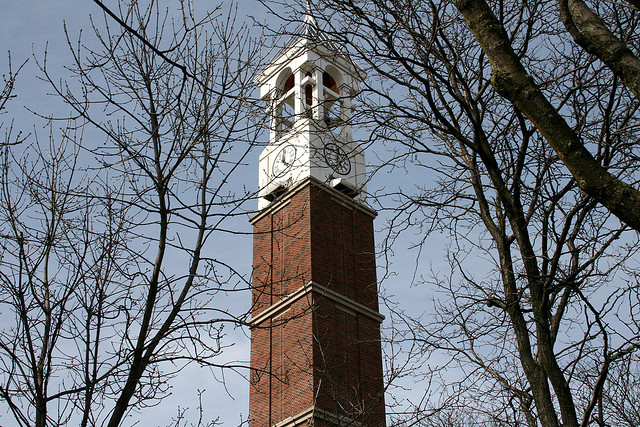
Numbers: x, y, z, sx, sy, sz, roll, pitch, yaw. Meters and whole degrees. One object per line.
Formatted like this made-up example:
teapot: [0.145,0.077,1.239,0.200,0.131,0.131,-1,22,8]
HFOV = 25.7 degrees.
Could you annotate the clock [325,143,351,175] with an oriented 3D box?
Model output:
clock: [0.639,-1.781,46.534,1.130,0.062,1.146,7,-59,46]
